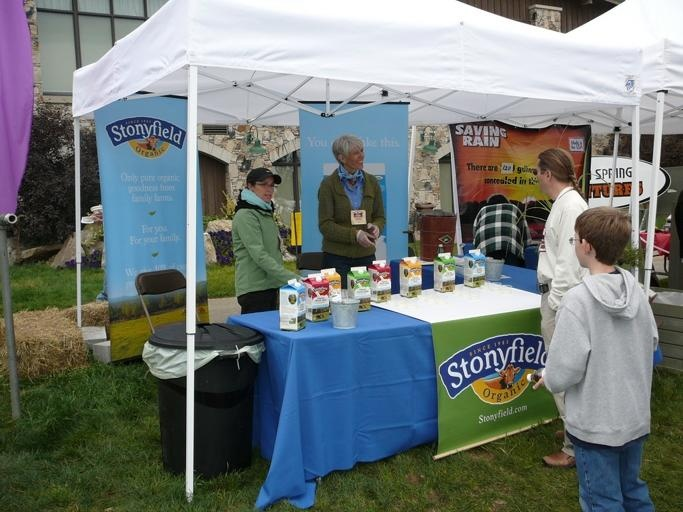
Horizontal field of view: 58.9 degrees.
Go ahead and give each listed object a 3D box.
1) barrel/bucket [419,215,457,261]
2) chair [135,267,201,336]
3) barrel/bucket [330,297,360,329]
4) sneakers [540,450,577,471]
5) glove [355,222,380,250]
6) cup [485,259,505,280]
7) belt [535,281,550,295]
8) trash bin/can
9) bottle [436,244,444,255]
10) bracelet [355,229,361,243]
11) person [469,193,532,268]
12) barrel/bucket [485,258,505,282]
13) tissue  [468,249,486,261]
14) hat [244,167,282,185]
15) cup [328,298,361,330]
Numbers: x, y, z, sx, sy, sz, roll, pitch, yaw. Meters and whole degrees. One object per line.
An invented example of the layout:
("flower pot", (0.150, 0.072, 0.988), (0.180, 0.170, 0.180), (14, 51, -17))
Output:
("barrel/bucket", (1.087, -0.207, 6.524), (0.416, 0.526, 0.447), (-1, 3, 0))
("chair", (-1.597, 0.399, 5.482), (0.213, 0.525, 0.492), (-2, 4, 40))
("barrel/bucket", (0.021, 0.384, 4.182), (0.179, 0.192, 0.241), (-1, 13, -2))
("sneakers", (1.555, 1.464, 4.290), (0.192, 0.093, 0.116), (5, -6, -10))
("glove", (0.227, -0.184, 5.043), (0.172, 0.204, 0.367), (-3, -17, 7))
("cup", (1.396, 0.117, 5.511), (0.149, 0.191, 0.171), (2, 4, -6))
("belt", (1.455, 0.226, 4.357), (0.081, 0.069, 0.096), (-4, 4, 11))
("trash bin/can", (-0.907, 0.990, 4.389), (0.855, 1.083, 0.884), (1, 0, 5))
("bottle", (0.960, -0.065, 5.862), (0.057, 0.123, 0.101), (1, 5, -6))
("bracelet", (0.136, -0.171, 4.976), (0.053, 0.076, 0.057), (3, 4, 20))
("person", (1.738, -0.273, 6.687), (0.429, 0.568, 1.133), (-7, 35, 16))
("barrel/bucket", (1.393, 0.130, 5.509), (0.170, 0.177, 0.166), (1, 4, 0))
("tissue ", (1.148, -0.008, 5.185), (0.095, 0.079, 0.102), (-1, 6, -21))
("hat", (-0.691, -0.678, 5.144), (0.223, 0.140, 0.182), (-9, 3, 15))
("cup", (0.024, 0.397, 4.144), (0.174, 0.161, 0.177), (3, 1, 0))
